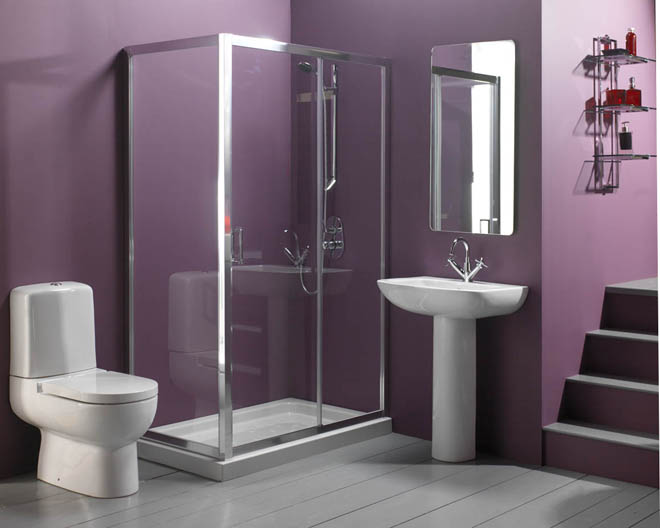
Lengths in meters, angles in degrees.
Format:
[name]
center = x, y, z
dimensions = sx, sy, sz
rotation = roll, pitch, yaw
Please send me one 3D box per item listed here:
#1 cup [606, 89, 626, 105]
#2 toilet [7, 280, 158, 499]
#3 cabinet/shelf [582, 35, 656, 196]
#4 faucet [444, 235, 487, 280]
[cup]
center = 1.733, -0.995, 3.815
dimensions = 0.107, 0.117, 0.109
rotation = 1, -5, 0
[toilet]
center = -1.251, 0.627, 3.233
dimensions = 0.788, 1.037, 0.379
rotation = 2, 4, 33
[cabinet/shelf]
center = 1.734, -0.921, 3.795
dimensions = 0.322, 0.988, 0.480
rotation = 3, 4, 41
[faucet]
center = 0.802, -0.005, 3.823
dimensions = 0.204, 0.314, 0.304
rotation = 1, -1, -42
